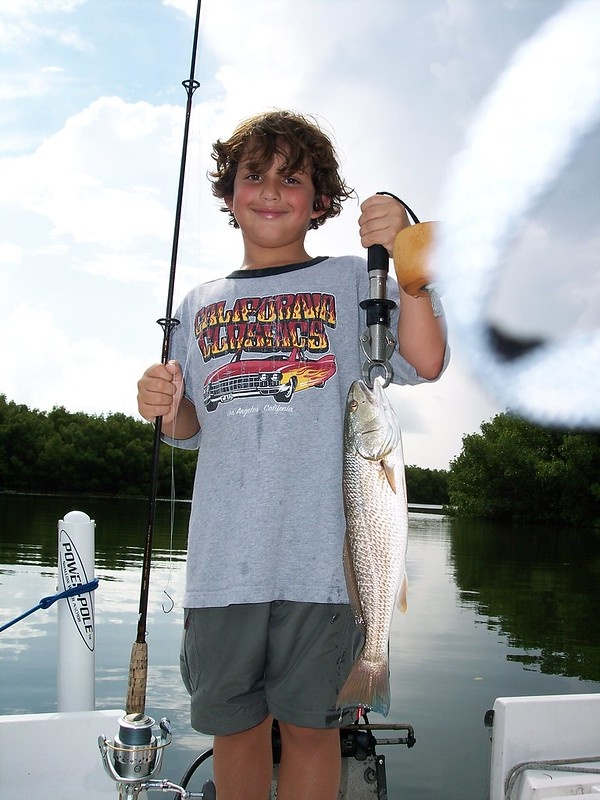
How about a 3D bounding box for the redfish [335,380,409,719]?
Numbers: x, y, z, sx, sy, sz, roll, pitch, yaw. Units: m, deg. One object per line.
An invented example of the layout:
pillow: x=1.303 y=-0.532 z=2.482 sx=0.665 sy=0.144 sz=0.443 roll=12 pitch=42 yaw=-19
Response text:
redfish: x=0.183 y=0.348 z=1.898 sx=0.133 sy=0.787 sz=0.194 roll=2 pitch=-3 yaw=-20
